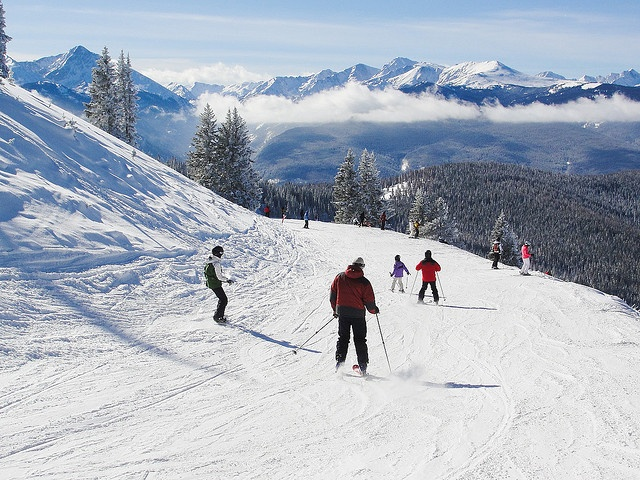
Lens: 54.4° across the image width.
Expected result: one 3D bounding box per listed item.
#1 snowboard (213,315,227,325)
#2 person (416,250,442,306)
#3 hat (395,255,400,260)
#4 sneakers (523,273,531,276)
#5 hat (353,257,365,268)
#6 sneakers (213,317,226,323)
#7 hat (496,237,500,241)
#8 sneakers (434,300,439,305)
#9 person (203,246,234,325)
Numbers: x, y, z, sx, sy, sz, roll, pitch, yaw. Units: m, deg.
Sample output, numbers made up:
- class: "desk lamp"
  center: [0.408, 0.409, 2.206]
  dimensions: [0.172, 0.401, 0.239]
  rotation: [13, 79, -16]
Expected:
- class: "snowboard"
  center: [-3.358, 2.746, 21.290]
  dimensions: [0.191, 0.290, 0.564]
  rotation: [17, -5, -41]
- class: "person"
  center: [4.753, 1.728, 27.272]
  dimensions: [1.328, 3.073, 1.200]
  rotation: [6, 41, 13]
- class: "hat"
  center: [3.372, 0.749, 26.944]
  dimensions: [0.190, 0.125, 0.198]
  rotation: [1, 3, -2]
- class: "sneakers"
  center: [10.598, 1.757, 31.833]
  dimensions: [0.139, 0.182, 0.436]
  rotation: [4, 2, -16]
- class: "hat"
  center: [1.176, 0.659, 17.906]
  dimensions: [0.231, 0.219, 0.326]
  rotation: [15, -3, 37]
- class: "sneakers"
  center: [-3.406, 2.751, 21.371]
  dimensions: [0.441, 0.222, 0.156]
  rotation: [1, 2, 18]
- class: "hat"
  center: [9.454, -0.013, 32.986]
  dimensions: [0.075, 0.269, 0.197]
  rotation: [16, 40, 5]
- class: "sneakers"
  center: [4.714, 2.544, 25.239]
  dimensions: [0.117, 0.203, 0.128]
  rotation: [-8, 0, -40]
- class: "person"
  center: [-3.685, 1.738, 22.543]
  dimensions: [1.152, 3.153, 1.245]
  rotation: [-9, 27, -20]
